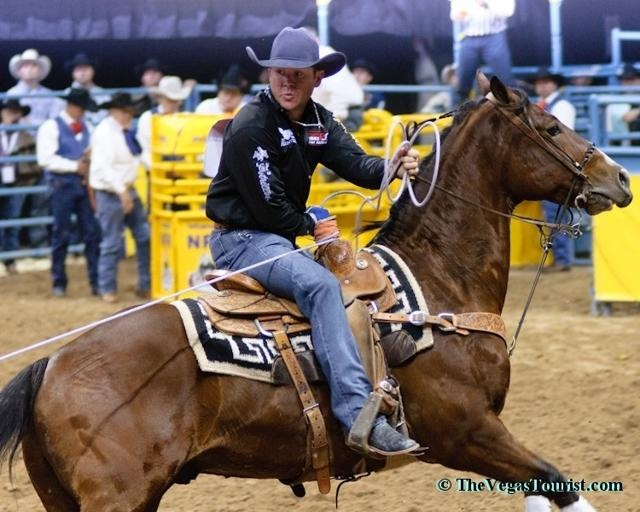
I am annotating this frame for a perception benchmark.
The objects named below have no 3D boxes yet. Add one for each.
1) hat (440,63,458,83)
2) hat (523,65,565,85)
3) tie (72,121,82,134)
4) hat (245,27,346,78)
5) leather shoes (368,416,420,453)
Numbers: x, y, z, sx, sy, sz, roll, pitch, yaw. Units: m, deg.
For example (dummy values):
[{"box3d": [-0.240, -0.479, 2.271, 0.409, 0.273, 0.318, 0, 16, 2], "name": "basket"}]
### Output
[{"box3d": [1.546, -2.209, 15.016, 0.234, 0.262, 0.296, -3, 19, 7], "name": "hat"}, {"box3d": [2.506, -2.037, 13.908, 0.407, 0.162, 0.462, 0, -4, 19], "name": "hat"}, {"box3d": [-2.471, -1.309, 12.539, 0.080, 0.109, 0.046, -1, 13, -18], "name": "tie"}, {"box3d": [-0.147, -1.321, 8.116, 0.407, 0.160, 0.416, 3, -4, 2], "name": "hat"}, {"box3d": [0.455, 1.157, 7.840, 0.146, 0.181, 0.401, -1, -2, -45], "name": "leather shoes"}]
